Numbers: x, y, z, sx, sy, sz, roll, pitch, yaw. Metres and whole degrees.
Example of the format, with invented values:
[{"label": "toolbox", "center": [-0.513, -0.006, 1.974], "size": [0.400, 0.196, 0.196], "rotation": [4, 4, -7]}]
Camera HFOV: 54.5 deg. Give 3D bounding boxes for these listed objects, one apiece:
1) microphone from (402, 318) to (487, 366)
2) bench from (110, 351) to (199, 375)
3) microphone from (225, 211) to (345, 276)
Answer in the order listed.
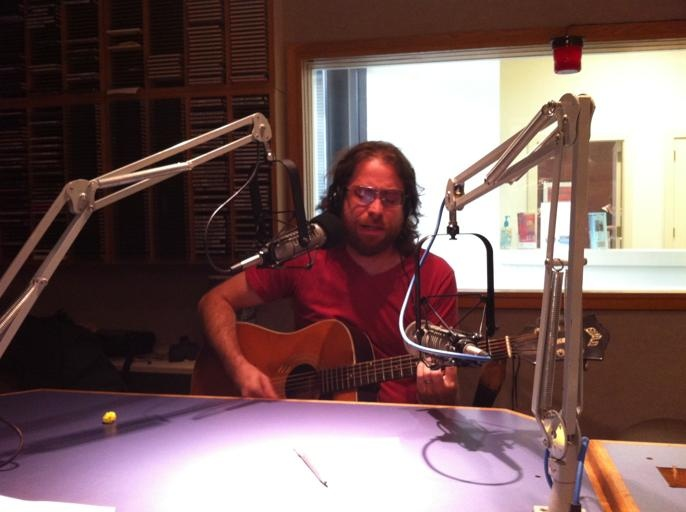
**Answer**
[{"label": "microphone", "center": [0.336, 0.306, 2.187], "size": [0.295, 0.151, 0.273], "rotation": [3, 6, 16]}, {"label": "bench", "center": [-1.033, 0.593, 3.622], "size": [0.493, 0.080, 0.131], "rotation": [2, 5, 11]}, {"label": "microphone", "center": [-0.213, -0.039, 2.821], "size": [0.567, 0.162, 0.160], "rotation": [-26, 17, -35]}]
